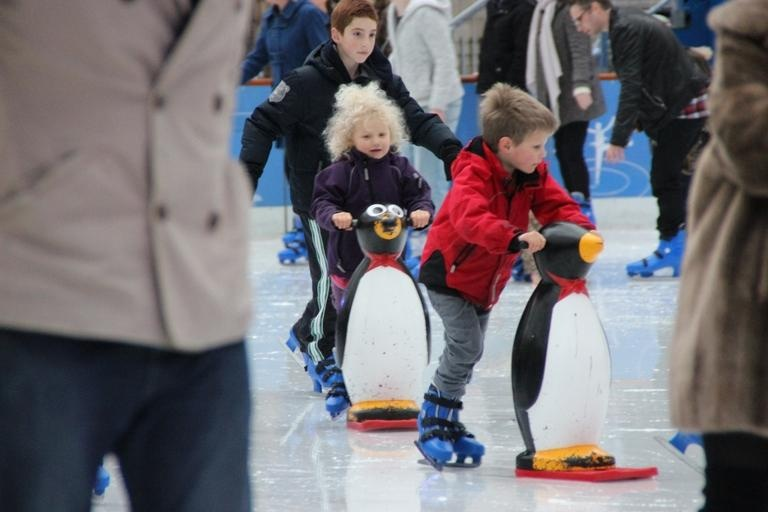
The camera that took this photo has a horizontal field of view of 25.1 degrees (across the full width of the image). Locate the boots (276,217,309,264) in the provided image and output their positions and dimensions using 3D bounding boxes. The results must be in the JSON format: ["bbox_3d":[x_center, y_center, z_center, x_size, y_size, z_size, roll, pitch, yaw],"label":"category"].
[{"bbox_3d":[-0.556,-0.086,10.718,0.248,0.337,0.168,-2,-4,-4],"label":"boots"}]

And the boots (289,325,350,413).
[{"bbox_3d":[-0.257,0.469,7.045,0.093,0.149,0.347,-30,52,-5],"label":"boots"}]

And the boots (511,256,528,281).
[{"bbox_3d":[0.750,0.073,9.555,0.047,0.130,0.095,7,17,-19],"label":"boots"}]
